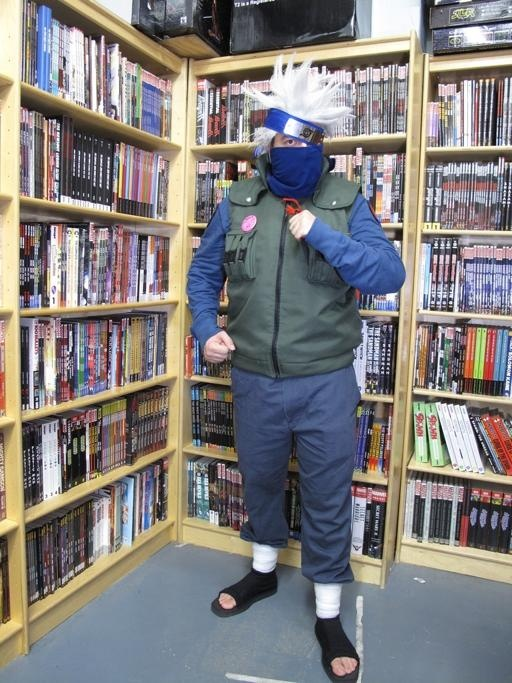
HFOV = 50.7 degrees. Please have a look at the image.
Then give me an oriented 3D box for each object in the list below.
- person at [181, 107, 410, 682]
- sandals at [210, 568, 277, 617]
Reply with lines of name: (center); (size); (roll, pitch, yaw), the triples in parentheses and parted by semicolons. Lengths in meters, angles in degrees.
person: (0.087, 0.117, 1.704); (0.699, 1.628, 0.421); (5, 5, 38)
sandals: (-0.038, 0.867, 1.902); (0.241, 0.107, 0.088); (6, -5, -43)
